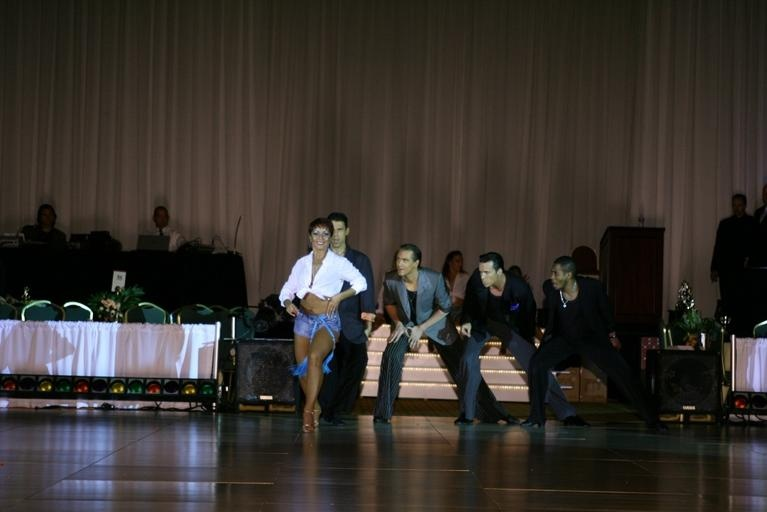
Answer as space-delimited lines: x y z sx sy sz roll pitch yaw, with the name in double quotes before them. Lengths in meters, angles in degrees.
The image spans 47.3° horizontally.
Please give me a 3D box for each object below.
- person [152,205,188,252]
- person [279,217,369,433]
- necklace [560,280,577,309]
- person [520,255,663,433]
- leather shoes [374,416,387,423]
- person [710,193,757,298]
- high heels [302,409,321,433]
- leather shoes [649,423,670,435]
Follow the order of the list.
"person" -3.158 -0.286 12.728 0.626 0.816 0.318 6 -22 -38
"person" -0.587 0.651 8.250 0.779 1.946 0.594 1 -4 -20
"necklace" 1.920 0.361 8.582 0.166 0.228 0.085 -11 -8 19
"person" 2.417 1.013 9.411 0.858 1.533 1.310 21 -25 -34
"leather shoes" 0.020 1.611 8.630 0.129 0.092 0.054 -5 -8 9
"person" 5.046 -0.119 11.997 0.594 1.470 0.689 -2 -4 24
"high heels" -0.666 1.517 8.143 0.146 0.201 0.301 0 -5 -3
"leather shoes" 2.832 1.651 8.518 0.196 0.101 0.133 -1 -5 10
